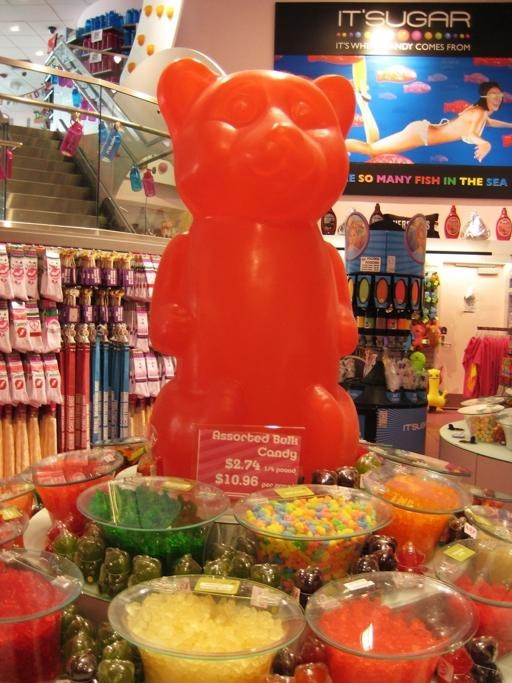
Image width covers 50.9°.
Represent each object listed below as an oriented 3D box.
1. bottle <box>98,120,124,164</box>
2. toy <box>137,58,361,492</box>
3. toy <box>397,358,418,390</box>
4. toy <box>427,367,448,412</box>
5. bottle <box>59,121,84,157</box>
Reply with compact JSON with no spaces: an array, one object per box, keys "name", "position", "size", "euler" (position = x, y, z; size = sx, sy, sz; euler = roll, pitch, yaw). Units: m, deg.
[{"name":"bottle","position":[-1.064,-1.472,3.989],"size":[0.046,0.288,0.203],"euler":[2,4,38]},{"name":"toy","position":[0.035,-0.216,1.507],"size":[0.668,1.222,0.421],"euler":[-1,3,-11]},{"name":"toy","position":[1.243,0.275,4.415],"size":[0.161,0.239,0.242],"euler":[2,-24,0]},{"name":"toy","position":[2.488,0.663,7.381],"size":[0.218,0.581,0.490],"euler":[1,3,20]},{"name":"bottle","position":[-1.333,-1.476,3.900],"size":[0.160,0.273,0.082],"euler":[-1,3,-19]}]
